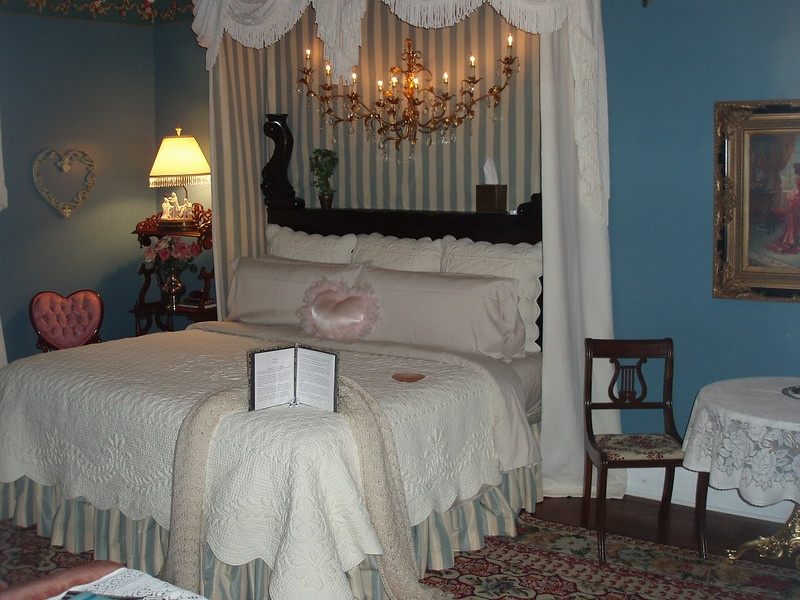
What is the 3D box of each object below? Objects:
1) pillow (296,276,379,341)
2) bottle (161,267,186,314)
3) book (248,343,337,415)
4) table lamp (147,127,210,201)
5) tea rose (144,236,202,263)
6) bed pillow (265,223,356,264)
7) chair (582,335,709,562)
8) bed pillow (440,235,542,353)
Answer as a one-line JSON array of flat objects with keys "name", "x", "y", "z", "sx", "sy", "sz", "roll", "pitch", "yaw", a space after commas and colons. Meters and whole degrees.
[{"name": "pillow", "x": -0.367, "y": 0.055, "z": 4.205, "sx": 0.367, "sy": 0.382, "sz": 0.099, "roll": 10, "pitch": -5, "yaw": 22}, {"name": "bottle", "x": -1.819, "y": -0.102, "z": 5.641, "sx": 0.187, "sy": 0.326, "sz": 0.189, "roll": 6, "pitch": 17, "yaw": -2}, {"name": "book", "x": -0.478, "y": 0.279, "z": 3.170, "sx": 0.362, "sy": 0.337, "sz": 0.287, "roll": 2, "pitch": 3, "yaw": 25}, {"name": "table lamp", "x": -1.806, "y": -1.104, "z": 5.709, "sx": 0.465, "sy": 0.716, "sz": 0.495, "roll": 0, "pitch": 9, "yaw": 1}, {"name": "tea rose", "x": -1.781, "y": -0.439, "z": 5.609, "sx": 0.300, "sy": 0.190, "sz": 0.316, "roll": 8, "pitch": 28, "yaw": 16}, {"name": "bed pillow", "x": -0.670, "y": -0.423, "z": 5.136, "sx": 0.657, "sy": 0.181, "sz": 0.358, "roll": 9, "pitch": -33, "yaw": -9}, {"name": "chair", "x": 1.284, "y": 0.773, "z": 3.810, "sx": 0.587, "sy": 1.068, "sz": 0.698, "roll": -4, "pitch": 3, "yaw": -5}, {"name": "bed pillow", "x": 0.564, "y": -0.015, "z": 4.199, "sx": 0.615, "sy": 0.634, "sz": 0.223, "roll": 7, "pitch": 7, "yaw": 41}]
